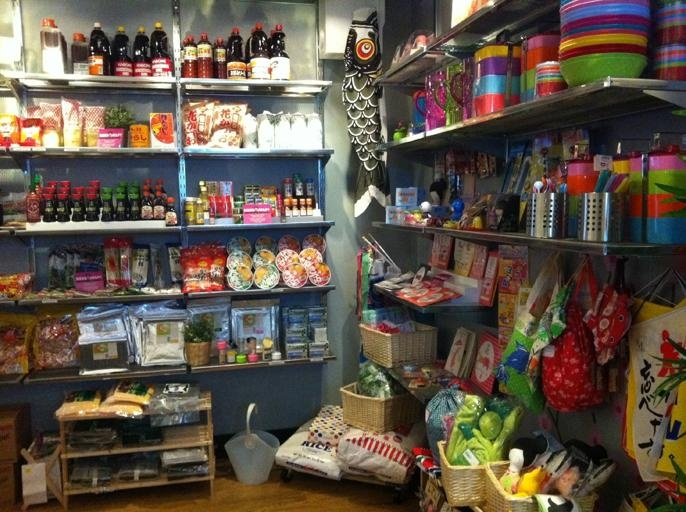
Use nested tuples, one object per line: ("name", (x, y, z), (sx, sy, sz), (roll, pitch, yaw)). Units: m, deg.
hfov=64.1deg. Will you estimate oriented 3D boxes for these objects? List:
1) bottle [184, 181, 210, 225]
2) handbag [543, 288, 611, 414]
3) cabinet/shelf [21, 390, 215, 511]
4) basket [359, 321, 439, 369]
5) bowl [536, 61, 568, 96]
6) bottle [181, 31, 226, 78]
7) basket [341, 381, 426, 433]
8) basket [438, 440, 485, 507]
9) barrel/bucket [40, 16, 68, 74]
("bottle", (-1.036, -0.381, 3.964), (0.145, 0.302, 0.227), (2, 8, 24))
("handbag", (1.024, 0.448, 2.400), (0.281, 0.496, 0.175), (1, 7, 15))
("cabinet/shelf", (-1.421, 1.004, 3.730), (1.163, 0.771, 0.654), (-1, 8, -14))
("basket", (0.361, 0.563, 3.756), (0.300, 0.184, 0.416), (-1, 4, -18))
("bowl", (0.816, -0.682, 2.194), (0.137, 0.149, 0.138), (-2, 8, 0))
("bottle", (-0.977, -1.391, 3.851), (0.312, 0.308, 0.141), (-3, 7, -14))
("basket", (0.270, 1.079, 3.948), (0.437, 0.223, 0.579), (1, -4, 39))
("basket", (0.542, 1.039, 2.548), (0.154, 0.116, 0.236), (0, -5, -5))
("barrel/bucket", (-2.017, -1.376, 3.784), (0.147, 0.429, 0.291), (-5, -3, -26))
